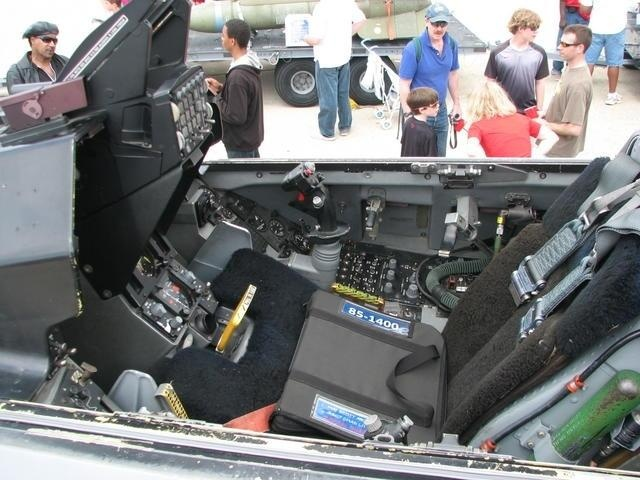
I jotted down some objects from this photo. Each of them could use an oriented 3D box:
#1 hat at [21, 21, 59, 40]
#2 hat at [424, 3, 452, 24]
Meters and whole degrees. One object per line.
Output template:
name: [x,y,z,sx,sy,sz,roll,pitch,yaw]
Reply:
hat: [-2.543,-1.904,4.279,0.209,0.078,0.189,-17,36,-17]
hat: [1.098,-2.113,4.440,0.149,0.127,0.221,2,41,-2]
